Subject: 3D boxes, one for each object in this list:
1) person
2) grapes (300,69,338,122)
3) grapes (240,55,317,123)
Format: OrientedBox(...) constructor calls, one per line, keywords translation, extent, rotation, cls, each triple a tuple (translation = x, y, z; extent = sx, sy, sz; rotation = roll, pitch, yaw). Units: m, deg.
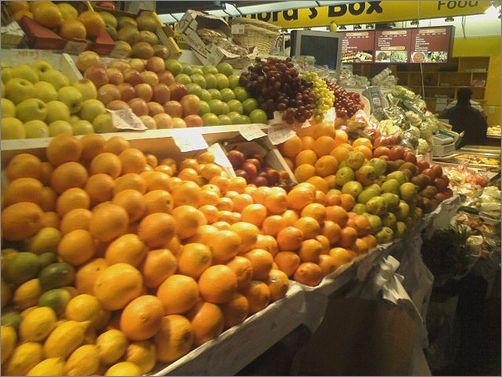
OrientedBox(translation=(3.502, -1.164, 5.832), extent=(0.592, 0.983, 0.844), rotation=(15, 22, 41), cls="person")
OrientedBox(translation=(0.557, -0.741, 3.060), extent=(0.259, 0.430, 0.301), rotation=(-21, -11, -28), cls="grapes")
OrientedBox(translation=(0.226, -0.742, 2.920), extent=(0.468, 0.542, 0.550), rotation=(18, 20, 42), cls="grapes")
